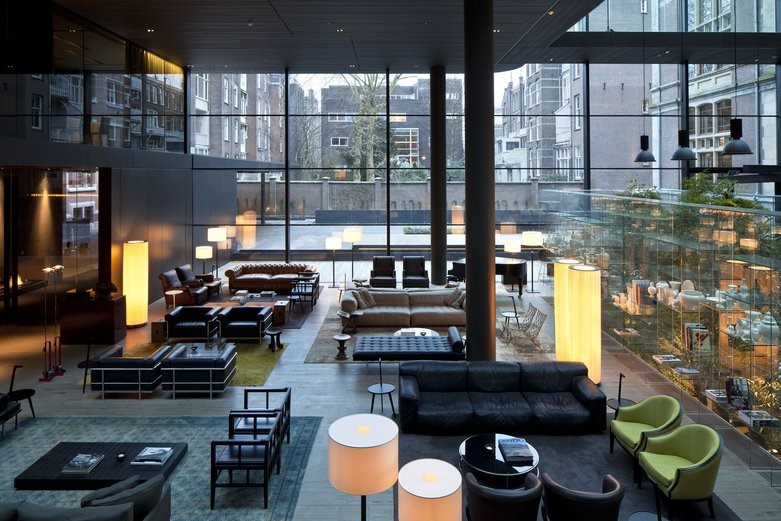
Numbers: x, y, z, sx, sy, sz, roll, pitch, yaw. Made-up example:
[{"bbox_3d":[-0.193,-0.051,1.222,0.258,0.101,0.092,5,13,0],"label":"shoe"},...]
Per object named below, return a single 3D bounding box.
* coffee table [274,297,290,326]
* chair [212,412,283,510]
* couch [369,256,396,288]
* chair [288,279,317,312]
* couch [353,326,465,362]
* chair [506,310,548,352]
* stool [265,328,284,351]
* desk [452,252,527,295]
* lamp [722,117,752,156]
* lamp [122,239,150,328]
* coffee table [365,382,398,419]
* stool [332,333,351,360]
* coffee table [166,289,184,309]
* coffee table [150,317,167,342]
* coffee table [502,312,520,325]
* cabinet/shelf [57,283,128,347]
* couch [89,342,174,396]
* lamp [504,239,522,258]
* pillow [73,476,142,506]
[{"bbox_3d":[-3.046,1.486,16.101,0.395,0.569,0.534,-1,10,8],"label":"coffee table"},{"bbox_3d":[-2.341,3.163,9.418,0.989,1.141,1.384,-2,10,3],"label":"chair"},{"bbox_3d":[-0.324,0.425,18.728,0.752,0.999,1.000,0,-2,1],"label":"couch"},{"bbox_3d":[-2.689,1.011,17.944,0.557,0.678,1.028,0,-1,-3],"label":"chair"},{"bbox_3d":[0.443,1.904,12.837,2.431,0.559,1.149,0,10,12],"label":"couch"},{"bbox_3d":[3.551,1.967,15.042,0.830,0.693,1.509,-3,4,7],"label":"chair"},{"bbox_3d":[-2.837,1.965,14.273,0.474,0.513,0.484,5,5,37],"label":"stool"},{"bbox_3d":[3.438,0.365,19.110,1.977,0.997,1.500,2,4,4],"label":"desk"},{"bbox_3d":[7.604,-2.722,12.602,0.424,0.756,0.414,-10,12,-37],"label":"lamp"},{"bbox_3d":[-6.804,0.676,15.450,0.713,2.333,0.357,-7,11,-26],"label":"lamp"},{"bbox_3d":[-0.180,2.744,11.297,0.598,0.651,0.605,0,-2,-2],"label":"coffee table"},{"bbox_3d":[-1.148,2.063,13.668,0.537,0.560,0.530,1,0,-3],"label":"stool"},{"bbox_3d":[-6.455,1.178,17.122,0.506,0.668,0.497,1,1,-11],"label":"coffee table"},{"bbox_3d":[-5.918,1.809,14.812,0.498,0.689,0.491,1,3,-4],"label":"coffee table"},{"bbox_3d":[3.286,1.571,15.596,0.467,0.476,0.418,0,-1,-4],"label":"coffee table"},{"bbox_3d":[-7.541,1.393,14.426,1.559,1.423,0.828,0,6,-2],"label":"cabinet/shelf"},{"bbox_3d":[-5.433,2.202,12.393,1.085,0.671,1.372,0,6,-3],"label":"couch"},{"bbox_3d":[4.099,-0.382,18.914,0.633,0.689,0.624,0,1,-3],"label":"lamp"},{"bbox_3d":[-4.106,3.386,8.389,0.623,0.178,0.609,-20,1,-8],"label":"pillow"}]
